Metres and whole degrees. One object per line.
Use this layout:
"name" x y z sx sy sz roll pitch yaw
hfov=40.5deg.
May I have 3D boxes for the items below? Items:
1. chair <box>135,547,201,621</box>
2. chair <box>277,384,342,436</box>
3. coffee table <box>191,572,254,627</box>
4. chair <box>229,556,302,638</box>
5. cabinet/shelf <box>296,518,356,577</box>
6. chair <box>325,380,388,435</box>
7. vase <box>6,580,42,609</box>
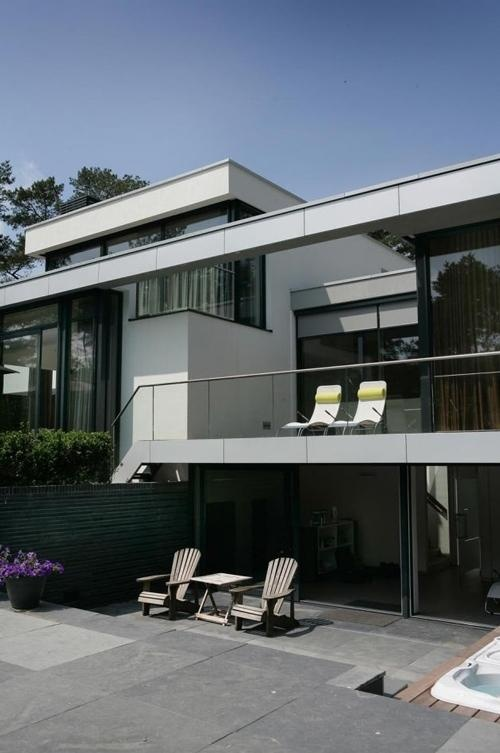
"chair" -1.023 2.680 8.834 0.600 0.804 0.833 -6 -11 29
"chair" 0.960 0.515 10.261 0.497 0.830 0.887 -5 -7 43
"coffee table" -0.475 2.867 8.673 0.663 0.515 0.703 -6 -9 -10
"chair" 0.204 2.644 8.161 0.617 0.813 0.852 -4 -7 35
"cabinet/shelf" 1.473 3.148 12.641 0.629 0.947 1.692 -3 -7 27
"chair" 1.601 0.407 9.541 0.510 0.809 0.838 -3 1 40
"vase" -2.433 2.342 7.277 0.347 0.278 0.331 16 -27 -38
